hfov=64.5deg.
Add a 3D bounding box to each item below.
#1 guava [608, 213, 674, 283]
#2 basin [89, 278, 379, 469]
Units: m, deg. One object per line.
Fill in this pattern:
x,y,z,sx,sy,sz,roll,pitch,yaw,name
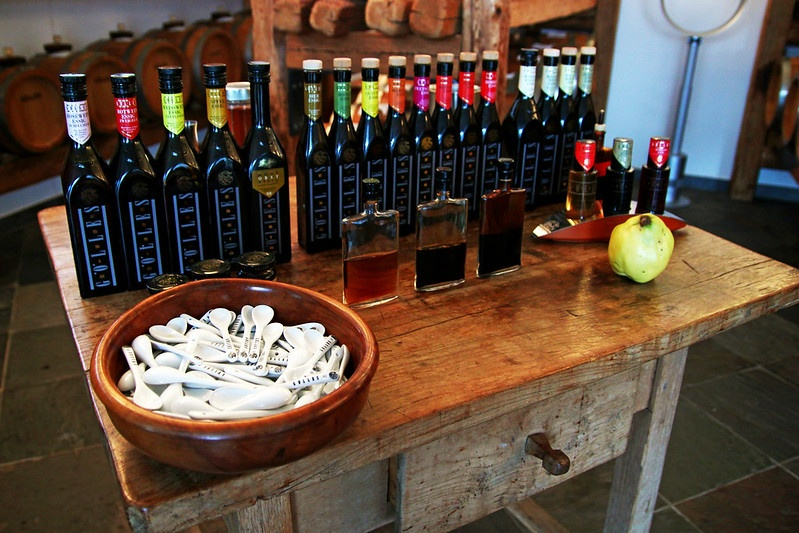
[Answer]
0.633,-0.060,1.676,0.146,0.162,0.153,-15,23,-40,guava
-0.313,0.198,1.269,0.536,0.238,0.386,-3,21,-3,basin
